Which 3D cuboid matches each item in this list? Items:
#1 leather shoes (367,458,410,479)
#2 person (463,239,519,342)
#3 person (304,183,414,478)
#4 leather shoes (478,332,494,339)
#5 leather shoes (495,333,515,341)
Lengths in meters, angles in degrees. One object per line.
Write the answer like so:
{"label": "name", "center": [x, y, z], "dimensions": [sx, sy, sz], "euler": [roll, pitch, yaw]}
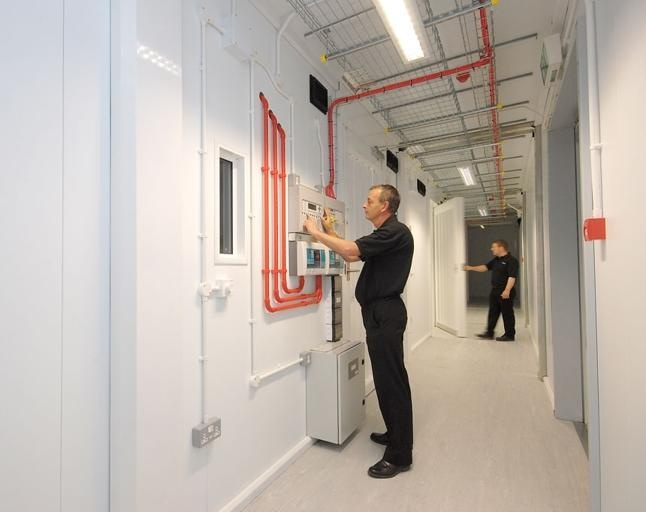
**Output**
{"label": "leather shoes", "center": [0.425, 1.362, 3.066], "dimensions": [0.248, 0.130, 0.108], "euler": [6, -10, -16]}
{"label": "person", "center": [2.480, 0.489, 6.715], "dimensions": [0.544, 1.433, 0.837], "euler": [-1, 6, -2]}
{"label": "person", "center": [0.361, 0.452, 3.183], "dimensions": [0.542, 1.857, 0.543], "euler": [2, 7, 29]}
{"label": "leather shoes", "center": [2.346, 1.154, 6.831], "dimensions": [0.237, 0.116, 0.089], "euler": [3, -17, 17]}
{"label": "leather shoes", "center": [2.548, 1.150, 6.614], "dimensions": [0.260, 0.123, 0.106], "euler": [2, -19, 14]}
